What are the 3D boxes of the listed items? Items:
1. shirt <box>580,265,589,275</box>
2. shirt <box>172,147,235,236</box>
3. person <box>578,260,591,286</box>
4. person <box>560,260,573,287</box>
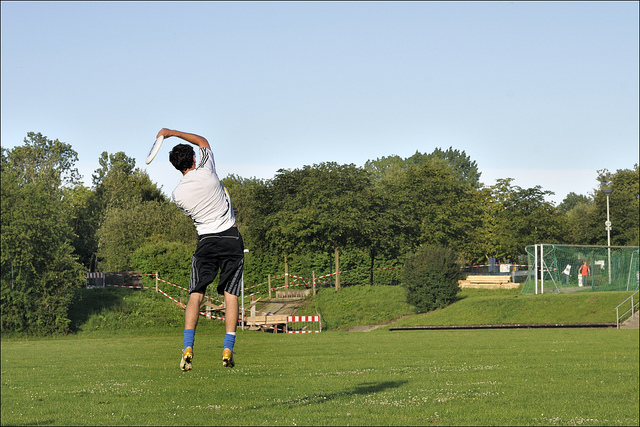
[{"bbox_3d":[16.510,3.566,59.406,0.917,0.139,1.012,0,34,15],"label":"shirt"},{"bbox_3d":[-4.033,-0.792,33.517,2.011,3.085,0.575,-1,4,-5],"label":"shirt"},{"bbox_3d":[16.438,3.716,59.332,0.677,1.421,1.477,0,4,15],"label":"person"},{"bbox_3d":[15.413,3.808,59.552,0.634,1.433,0.321,18,-33,7],"label":"person"}]
